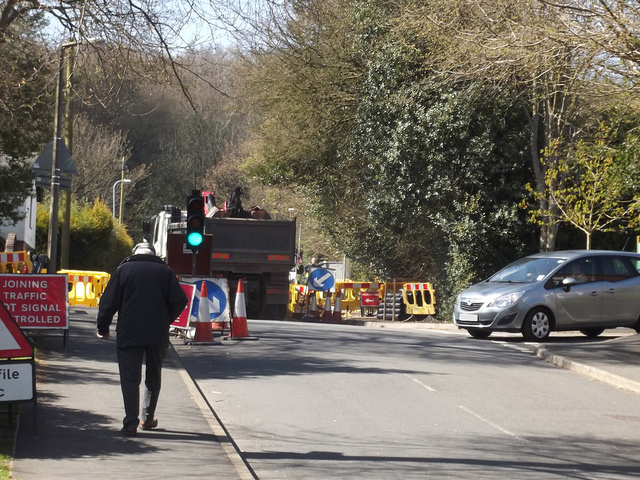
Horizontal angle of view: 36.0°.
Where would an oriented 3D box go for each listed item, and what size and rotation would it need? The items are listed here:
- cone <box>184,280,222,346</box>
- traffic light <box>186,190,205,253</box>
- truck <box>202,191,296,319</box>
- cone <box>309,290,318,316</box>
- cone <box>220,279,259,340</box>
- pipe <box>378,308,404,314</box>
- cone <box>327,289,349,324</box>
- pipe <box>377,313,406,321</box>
[{"bbox_3d":[-2.386,1.518,20.258,0.996,1.248,1.093,-4,-4,37],"label":"cone"},{"bbox_3d":[-2.610,-0.350,20.686,0.382,1.326,0.395,1,5,-9],"label":"traffic light"},{"bbox_3d":[-2.049,0.625,28.962,2.041,2.508,3.795,0,-3,-6],"label":"truck"},{"bbox_3d":[-0.196,1.976,30.428,0.231,0.739,0.624,1,5,-1],"label":"cone"},{"bbox_3d":[-1.636,1.519,20.862,0.490,1.272,0.815,3,5,18],"label":"cone"},{"bbox_3d":[2.231,2.278,31.289,0.805,0.233,0.487,3,5,13],"label":"pipe"},{"bbox_3d":[0.515,2.042,29.288,0.536,0.968,1.562,2,5,4],"label":"cone"},{"bbox_3d":[2.245,2.464,31.312,0.896,0.275,0.596,3,5,14],"label":"pipe"}]
